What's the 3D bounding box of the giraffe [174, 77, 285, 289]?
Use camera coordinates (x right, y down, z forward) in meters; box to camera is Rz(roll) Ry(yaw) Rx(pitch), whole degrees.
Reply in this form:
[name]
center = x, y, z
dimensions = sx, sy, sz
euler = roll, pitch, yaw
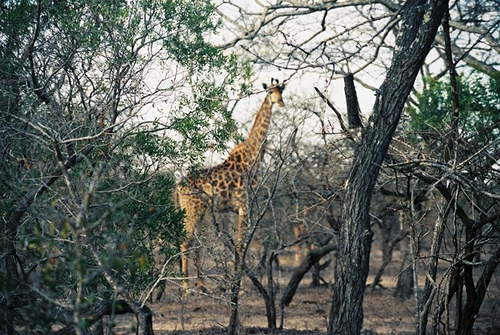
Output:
[giraffe]
center = -0.694, 0.652, 21.521
dimensions = 2.363, 6.068, 4.626
euler = 8, -16, -9
